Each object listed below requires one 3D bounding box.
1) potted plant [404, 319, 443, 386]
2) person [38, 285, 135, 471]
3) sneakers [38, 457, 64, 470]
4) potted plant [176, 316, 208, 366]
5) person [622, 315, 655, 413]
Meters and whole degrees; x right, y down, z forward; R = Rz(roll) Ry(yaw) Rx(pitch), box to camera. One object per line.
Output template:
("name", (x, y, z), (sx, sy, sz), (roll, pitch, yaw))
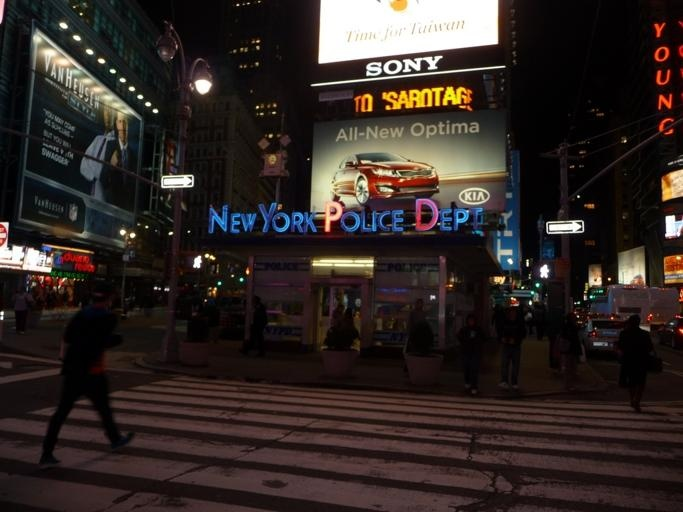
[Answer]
("potted plant", (2.510, 2.970, 18.317), (1.477, 2.436, 1.602), (1, -1, 9))
("person", (-4.323, 2.025, 10.136), (1.274, 3.057, 0.530), (4, -5, -22))
("sneakers", (-4.861, 3.454, 9.879), (0.418, 0.201, 0.151), (1, -4, -4))
("potted plant", (-4.817, 2.832, 19.934), (1.041, 1.773, 1.027), (9, -11, -28))
("person", (7.581, 2.725, 15.175), (0.700, 2.394, 1.258), (0, -6, 28))
